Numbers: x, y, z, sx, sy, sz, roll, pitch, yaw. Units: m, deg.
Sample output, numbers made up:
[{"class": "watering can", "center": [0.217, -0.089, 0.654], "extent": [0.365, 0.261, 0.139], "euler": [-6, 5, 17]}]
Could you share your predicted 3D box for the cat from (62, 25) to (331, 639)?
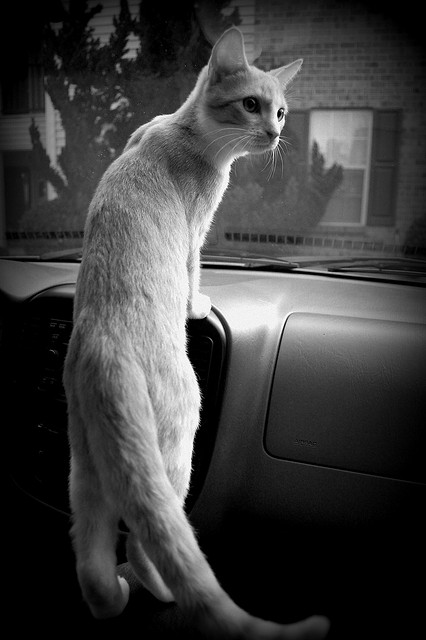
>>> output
[{"class": "cat", "center": [-0.113, 0.008, 1.552], "extent": [0.524, 1.600, 0.844], "euler": [5, 11, 0]}]
